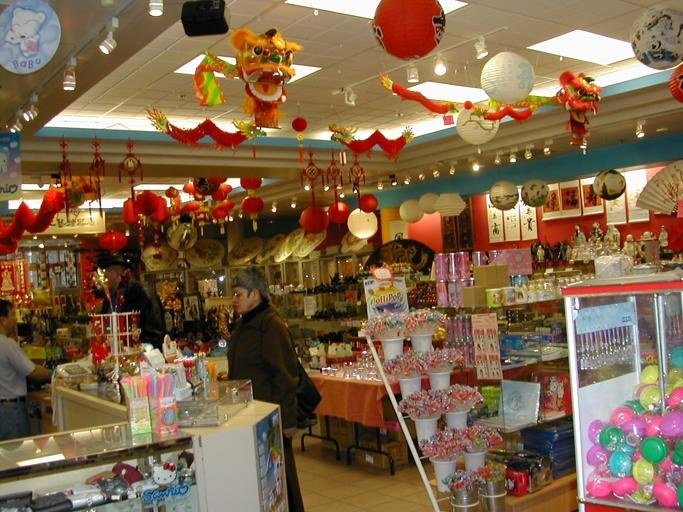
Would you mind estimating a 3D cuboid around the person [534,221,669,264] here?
[{"bbox_3d":[4.895,-0.465,10.127,0.206,0.679,2.329,1,-6,-43],"label":"person"}]

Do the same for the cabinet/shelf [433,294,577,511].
[{"bbox_3d":[1.303,1.127,4.104,0.962,1.486,0.990,-5,-4,18],"label":"cabinet/shelf"}]

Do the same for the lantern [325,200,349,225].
[{"bbox_3d":[-0.053,-0.746,9.105,0.374,0.464,0.389,-1,5,1],"label":"lantern"}]

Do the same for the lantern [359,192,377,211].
[{"bbox_3d":[0.513,-0.984,9.811,0.294,0.351,0.582,-4,-4,13],"label":"lantern"}]

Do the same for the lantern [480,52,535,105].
[{"bbox_3d":[1.651,-1.686,5.250,0.496,0.535,0.473,-1,0,-3],"label":"lantern"}]

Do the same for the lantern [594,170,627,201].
[{"bbox_3d":[4.420,-1.179,8.642,0.453,0.472,0.384,-4,-4,7],"label":"lantern"}]

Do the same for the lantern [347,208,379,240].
[{"bbox_3d":[0.420,-0.576,10.300,0.574,0.704,0.582,-11,-10,42],"label":"lantern"}]

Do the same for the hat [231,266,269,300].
[{"bbox_3d":[-0.679,0.204,3.908,0.256,0.266,0.209,-3,1,-11],"label":"hat"}]

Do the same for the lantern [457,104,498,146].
[{"bbox_3d":[1.592,-1.542,6.212,0.388,0.365,0.418,1,2,8],"label":"lantern"}]

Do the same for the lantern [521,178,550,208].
[{"bbox_3d":[3.458,-1.129,9.388,0.438,0.447,0.292,-5,-4,16],"label":"lantern"}]

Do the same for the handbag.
[{"bbox_3d":[-0.363,0.815,3.842,0.427,0.898,0.270,-1,-5,-32],"label":"handbag"}]

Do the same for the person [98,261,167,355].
[{"bbox_3d":[-2.236,0.543,5.625,0.465,0.959,0.810,-5,-4,22],"label":"person"}]

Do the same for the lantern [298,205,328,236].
[{"bbox_3d":[-0.448,-0.622,8.677,0.415,0.476,0.524,-3,-4,-6],"label":"lantern"}]

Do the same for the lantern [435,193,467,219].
[{"bbox_3d":[2.130,-0.972,10.303,0.469,0.342,0.489,-2,0,11],"label":"lantern"}]

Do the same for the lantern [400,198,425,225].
[{"bbox_3d":[1.538,-0.955,11.185,0.457,0.555,0.477,-2,31,26],"label":"lantern"}]
